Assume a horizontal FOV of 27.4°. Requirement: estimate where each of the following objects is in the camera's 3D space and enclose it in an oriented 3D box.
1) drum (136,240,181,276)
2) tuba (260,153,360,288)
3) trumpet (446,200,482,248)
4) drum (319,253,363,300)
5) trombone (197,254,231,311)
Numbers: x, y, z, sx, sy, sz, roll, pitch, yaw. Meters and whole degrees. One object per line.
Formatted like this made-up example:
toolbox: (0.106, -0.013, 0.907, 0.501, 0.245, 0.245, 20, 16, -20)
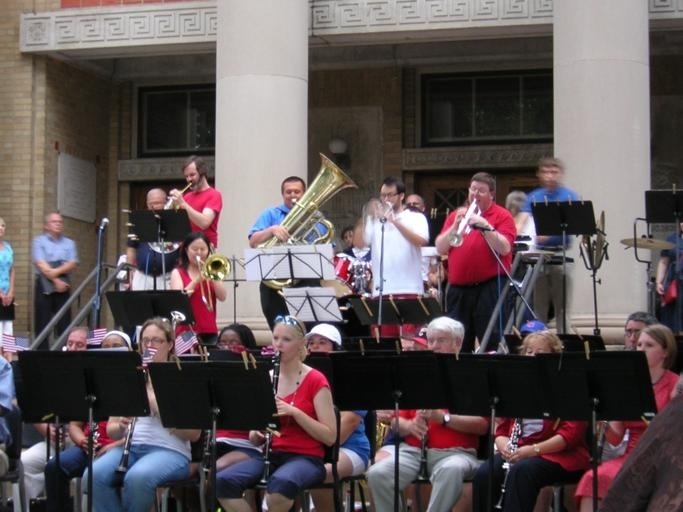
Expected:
drum: (-2.265, 0.086, 17.406, 0.433, 0.444, 0.464, -9, -44, 9)
tuba: (-0.331, -0.338, 17.007, 0.926, 1.744, 0.842, 0, 3, 3)
trumpet: (1.415, -0.361, 16.065, 0.169, 0.192, 0.676, 9, 39, 23)
drum: (-0.022, 0.261, 17.466, 0.383, 0.553, 0.349, -1, 3, 0)
trombone: (-1.494, 0.313, 16.636, 0.309, 0.688, 0.298, 0, 2, -7)
